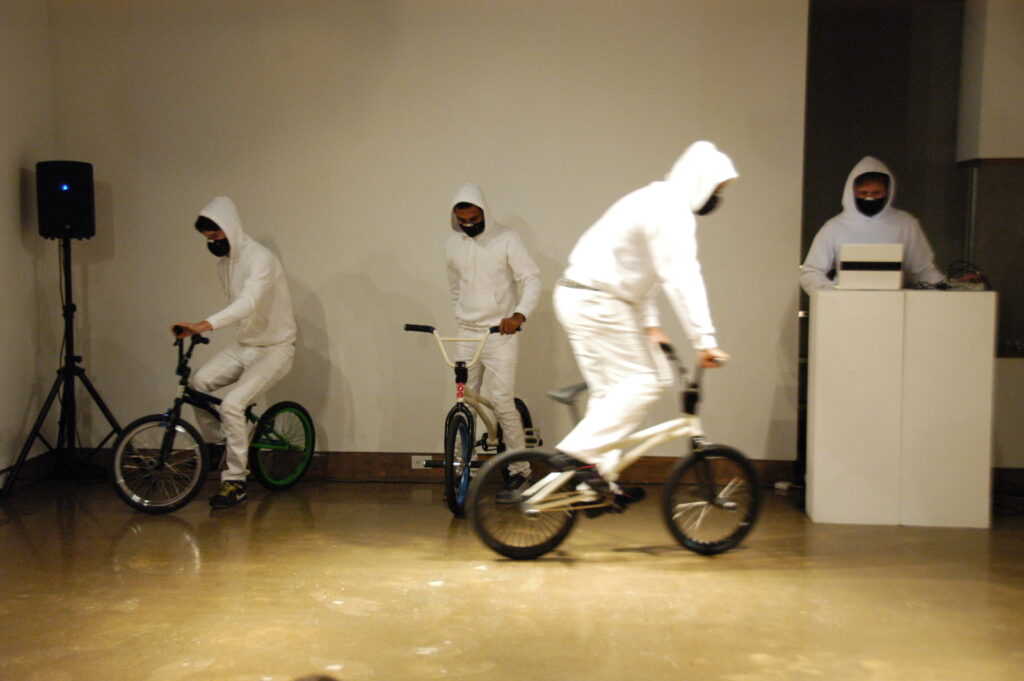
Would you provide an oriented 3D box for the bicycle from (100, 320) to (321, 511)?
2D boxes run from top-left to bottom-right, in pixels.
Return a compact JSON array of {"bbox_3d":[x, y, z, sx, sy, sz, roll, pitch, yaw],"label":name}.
[{"bbox_3d":[-2.211,0.620,6.431,0.785,1.240,1.789,-5,-3,35],"label":"bicycle"}]

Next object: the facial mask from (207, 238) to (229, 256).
[{"bbox_3d":[-2.187,-0.700,6.359,0.158,0.131,0.131,-3,5,-14],"label":"facial mask"}]

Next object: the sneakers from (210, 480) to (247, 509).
[{"bbox_3d":[-2.084,1.134,6.230,0.119,0.131,0.289,5,-8,15],"label":"sneakers"}]

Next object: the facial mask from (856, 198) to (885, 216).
[{"bbox_3d":[2.760,-1.025,6.508,0.206,0.140,0.064,1,6,22],"label":"facial mask"}]

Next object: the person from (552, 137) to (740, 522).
[{"bbox_3d":[0.739,0.006,5.202,0.942,1.932,0.413,-1,6,2],"label":"person"}]

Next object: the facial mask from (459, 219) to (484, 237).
[{"bbox_3d":[-0.289,-0.846,6.447,0.184,0.117,0.118,-1,5,-3],"label":"facial mask"}]

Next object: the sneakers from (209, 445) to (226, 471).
[{"bbox_3d":[-2.220,0.876,6.401,0.051,0.142,0.145,7,-36,6],"label":"sneakers"}]

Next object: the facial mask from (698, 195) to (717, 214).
[{"bbox_3d":[1.237,-0.838,5.314,0.050,0.120,0.103,39,17,-6],"label":"facial mask"}]

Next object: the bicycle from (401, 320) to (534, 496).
[{"bbox_3d":[-0.279,0.535,6.517,0.770,1.309,1.822,0,3,12],"label":"bicycle"}]

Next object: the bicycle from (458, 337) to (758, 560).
[{"bbox_3d":[0.705,0.730,5.234,1.960,1.211,0.826,2,2,-15],"label":"bicycle"}]

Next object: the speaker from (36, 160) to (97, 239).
[{"bbox_3d":[-3.481,-1.085,6.599,0.406,0.591,0.193,-3,6,-20],"label":"speaker"}]
